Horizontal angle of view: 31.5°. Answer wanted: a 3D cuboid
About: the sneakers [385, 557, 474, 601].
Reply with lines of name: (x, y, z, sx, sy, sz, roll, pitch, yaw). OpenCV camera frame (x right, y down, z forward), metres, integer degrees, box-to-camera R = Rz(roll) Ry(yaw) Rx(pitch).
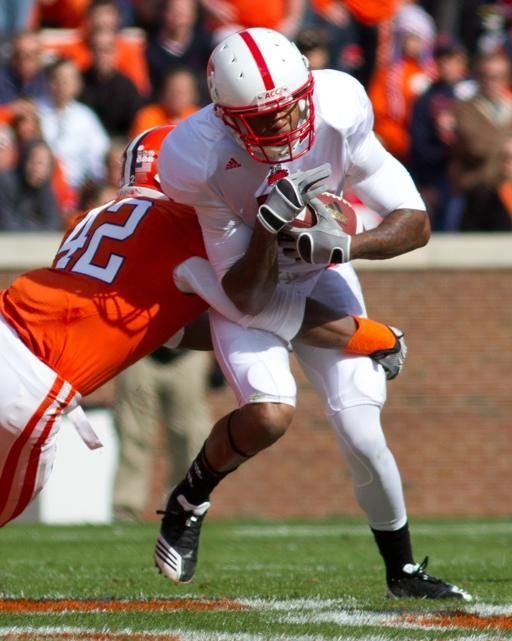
sneakers: (0.425, 0.660, 2.324, 0.270, 0.094, 0.078, -1, 0, 20)

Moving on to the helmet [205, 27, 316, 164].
helmet: (0.018, -0.559, 2.194, 0.279, 0.230, 0.306, -22, 48, -13)

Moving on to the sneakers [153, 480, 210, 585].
sneakers: (-0.217, 0.559, 2.433, 0.148, 0.107, 0.287, -40, 43, 29)

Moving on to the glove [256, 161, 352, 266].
glove: (0.124, -0.230, 2.175, 0.113, 0.289, 0.188, 4, 69, 53)

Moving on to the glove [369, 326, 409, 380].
glove: (0.371, 0.093, 2.488, 0.106, 0.160, 0.068, 20, 68, 32)
